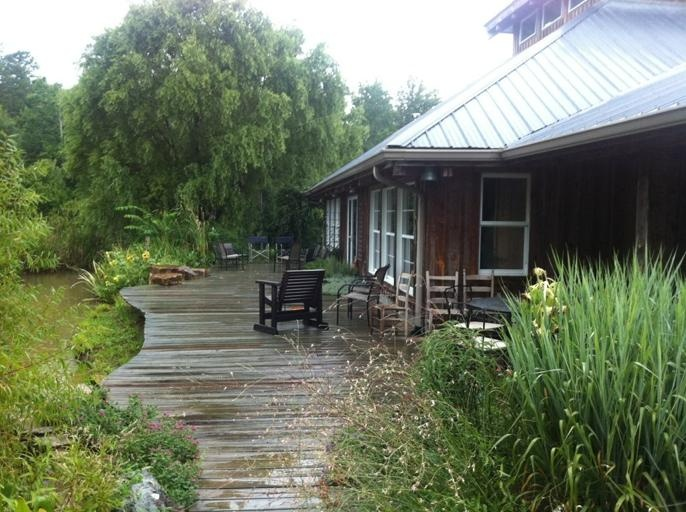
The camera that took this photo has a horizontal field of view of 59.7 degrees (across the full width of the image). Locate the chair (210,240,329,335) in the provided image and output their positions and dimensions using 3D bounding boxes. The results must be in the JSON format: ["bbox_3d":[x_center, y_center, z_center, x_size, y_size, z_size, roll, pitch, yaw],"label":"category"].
[{"bbox_3d":[-0.807,0.503,8.815,0.838,1.100,1.120,-1,5,-29],"label":"chair"}]

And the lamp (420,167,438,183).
[{"bbox_3d":[1.140,-1.072,7.878,0.147,0.175,0.164,0,5,-6],"label":"lamp"}]
